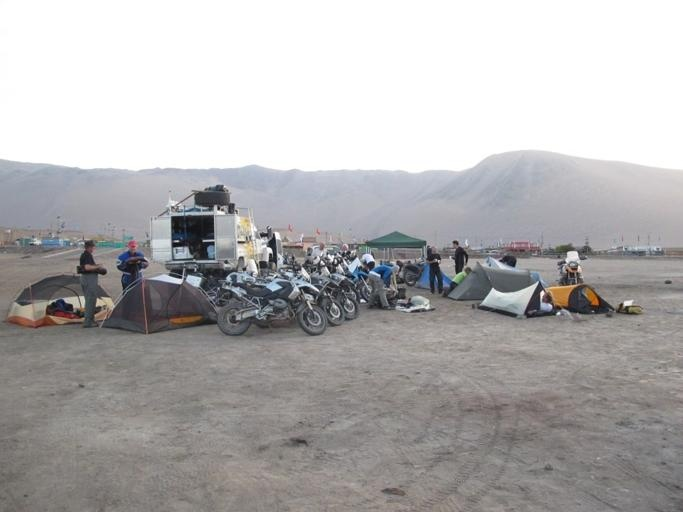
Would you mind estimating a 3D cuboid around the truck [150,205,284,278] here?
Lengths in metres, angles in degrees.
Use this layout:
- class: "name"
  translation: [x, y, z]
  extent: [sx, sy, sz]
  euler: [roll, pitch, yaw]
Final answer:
- class: "truck"
  translation: [-5.018, -0.711, 19.321]
  extent: [3.324, 2.614, 4.531]
  euler: [2, 7, 16]

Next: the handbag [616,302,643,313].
- class: "handbag"
  translation: [9.353, 1.719, 15.249]
  extent: [0.516, 0.223, 0.666]
  euler: [1, 2, 18]

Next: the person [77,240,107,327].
- class: "person"
  translation: [-6.990, 0.746, 12.949]
  extent: [0.625, 2.357, 1.582]
  euler: [-2, 5, -29]

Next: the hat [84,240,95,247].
- class: "hat"
  translation: [-6.721, -0.281, 12.396]
  extent: [0.244, 0.246, 0.495]
  euler: [-2, 4, -28]

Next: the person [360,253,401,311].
- class: "person"
  translation: [1.480, 1.097, 18.159]
  extent: [1.297, 0.995, 2.337]
  euler: [-10, -15, 0]

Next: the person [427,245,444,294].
- class: "person"
  translation: [4.385, 0.682, 21.864]
  extent: [0.737, 2.137, 1.066]
  euler: [1, 4, 10]

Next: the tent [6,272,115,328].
- class: "tent"
  translation: [-8.443, 1.389, 13.895]
  extent: [2.167, 0.909, 2.144]
  euler: [2, 0, -3]
